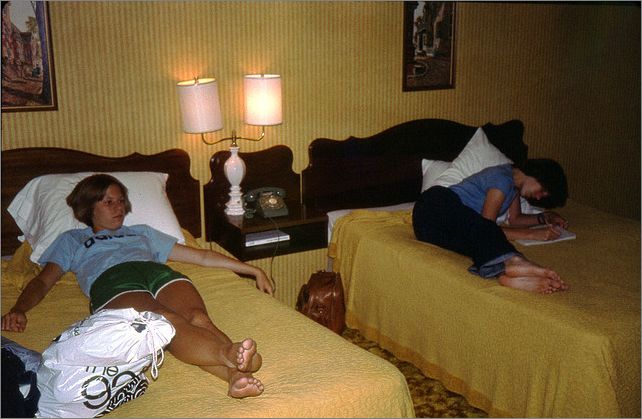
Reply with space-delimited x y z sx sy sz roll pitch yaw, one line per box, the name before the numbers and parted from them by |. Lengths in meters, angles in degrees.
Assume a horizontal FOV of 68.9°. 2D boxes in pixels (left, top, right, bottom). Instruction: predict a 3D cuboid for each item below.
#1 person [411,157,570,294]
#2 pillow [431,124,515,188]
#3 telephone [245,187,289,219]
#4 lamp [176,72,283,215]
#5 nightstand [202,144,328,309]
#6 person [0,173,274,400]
person | 1.194 0.013 3.255 1.027 0.529 1.181 11 25 28
pillow | 1.278 -0.431 4.046 0.596 0.181 0.521 -30 49 -11
telephone | -0.438 -0.068 3.791 0.322 0.153 0.267 -6 20 -27
lamp | -0.761 -0.541 3.720 1.007 1.285 0.372 -7 21 -17
nightstand | -0.456 0.063 3.650 0.965 1.485 0.746 -14 29 -26
person | -0.950 0.413 2.440 1.020 0.431 1.318 -2 25 -39
